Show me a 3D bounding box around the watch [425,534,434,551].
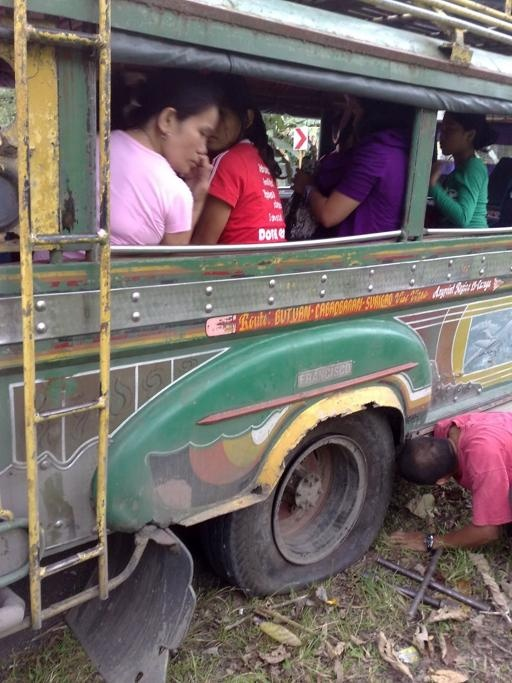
[{"bbox_3d":[0.890,1.017,2.812,0.047,0.073,0.066,5,-21,26],"label":"watch"}]
